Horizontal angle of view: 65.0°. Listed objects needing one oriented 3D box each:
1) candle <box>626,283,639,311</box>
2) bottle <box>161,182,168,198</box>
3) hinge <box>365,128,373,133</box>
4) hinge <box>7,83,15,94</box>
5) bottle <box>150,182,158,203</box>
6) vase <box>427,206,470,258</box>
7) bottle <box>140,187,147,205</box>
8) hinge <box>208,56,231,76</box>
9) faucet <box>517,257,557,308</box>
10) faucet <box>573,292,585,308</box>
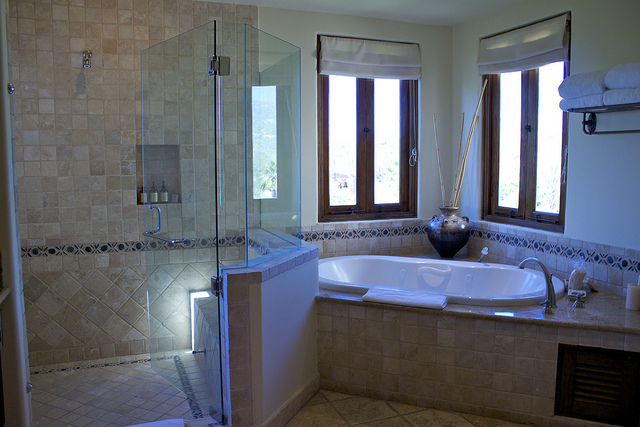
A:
[{"bbox_3d":[2.436,0.657,3.902,0.084,0.197,0.040,2,5,25],"label":"candle"},{"bbox_3d":[-1.223,-0.186,3.938,0.071,0.104,0.015,4,7,40],"label":"bottle"},{"bbox_3d":[0.523,-0.910,5.443,0.051,0.037,0.058,-3,7,-29],"label":"hinge"},{"bbox_3d":[-1.654,-0.669,2.682,0.013,0.046,0.032,-6,5,18],"label":"hinge"},{"bbox_3d":[-1.328,-0.160,4.017,0.022,0.145,0.098,-4,6,-40],"label":"bottle"},{"bbox_3d":[1.377,0.194,5.381,0.458,0.553,0.463,4,5,36],"label":"vase"},{"bbox_3d":[-1.472,-0.146,4.190,0.021,0.145,0.208,-3,6,-28],"label":"bottle"},{"bbox_3d":[-0.711,-1.046,3.525,0.130,0.148,0.037,2,3,4],"label":"hinge"},{"bbox_3d":[1.793,0.545,4.027,0.204,0.367,0.354,1,5,20],"label":"faucet"},{"bbox_3d":[2.045,0.697,4.011,0.093,0.107,0.101,-2,4,-25],"label":"faucet"}]
